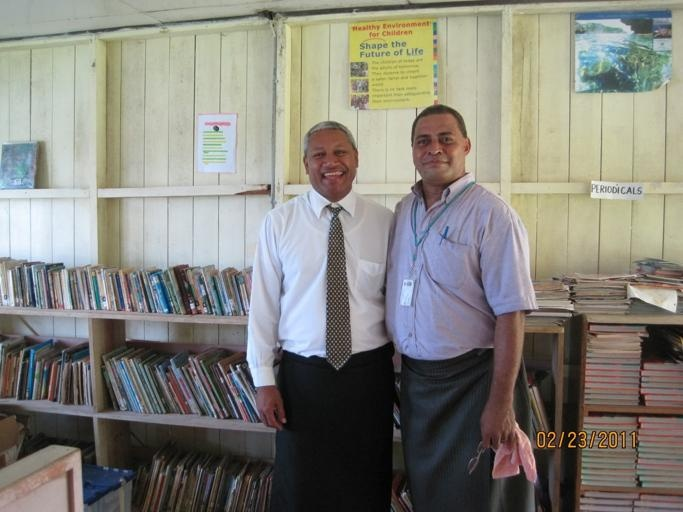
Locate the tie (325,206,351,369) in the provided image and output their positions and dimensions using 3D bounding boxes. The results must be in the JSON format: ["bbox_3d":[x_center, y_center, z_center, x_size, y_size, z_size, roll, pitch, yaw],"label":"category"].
[{"bbox_3d":[-0.022,0.157,3.302,0.126,0.802,0.232,-2,7,4],"label":"tie"}]

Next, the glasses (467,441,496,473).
[{"bbox_3d":[0.645,0.958,3.108,0.088,0.166,0.073,1,8,32],"label":"glasses"}]
